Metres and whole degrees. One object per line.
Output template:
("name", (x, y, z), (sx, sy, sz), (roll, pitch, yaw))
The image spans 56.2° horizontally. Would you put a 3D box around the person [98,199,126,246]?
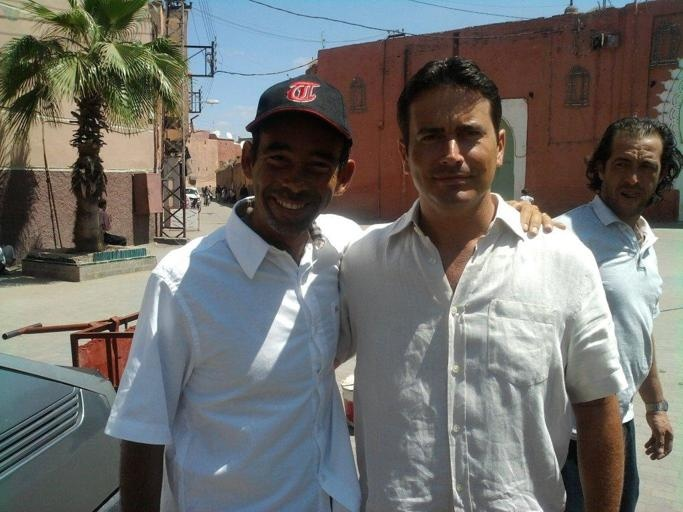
("person", (-5.268, -0.743, 14.592), (0.729, 1.122, 0.642), (-2, 2, 36))
